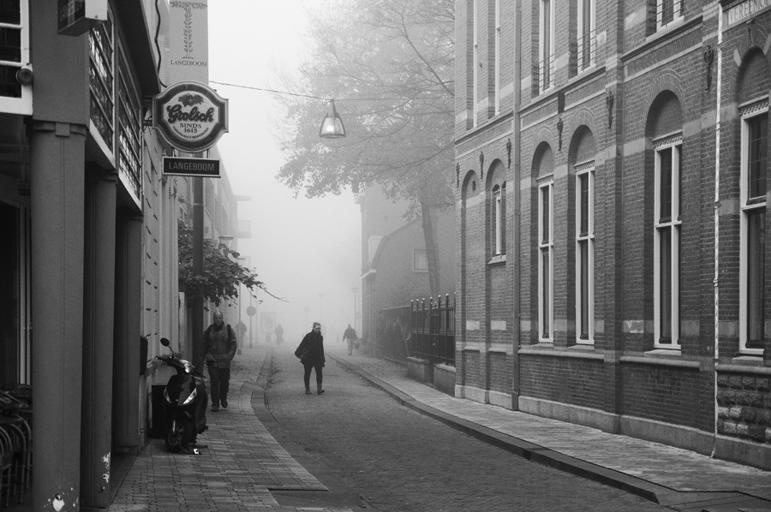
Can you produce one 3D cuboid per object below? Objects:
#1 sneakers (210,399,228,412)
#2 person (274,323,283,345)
[{"bbox_3d":[-3.911,3.502,20.690,0.196,0.283,0.652,-3,-16,1],"label":"sneakers"},{"bbox_3d":[-10.497,7.588,86.503,0.480,1.541,2.724,0,-2,-13],"label":"person"}]
